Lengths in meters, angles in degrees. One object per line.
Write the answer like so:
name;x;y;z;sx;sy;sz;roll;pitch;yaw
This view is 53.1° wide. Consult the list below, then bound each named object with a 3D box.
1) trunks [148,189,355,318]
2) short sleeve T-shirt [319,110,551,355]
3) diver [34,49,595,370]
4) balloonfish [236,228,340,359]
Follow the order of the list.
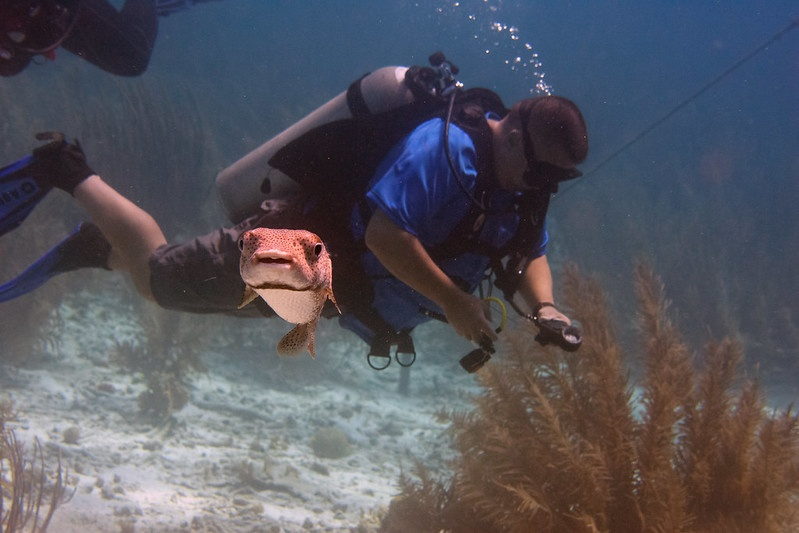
trunks;-1.697;-0.157;9.385;1.000;1.649;3.326;-7;19;-43
short sleeve T-shirt;0.407;-0.516;9.480;2.152;2.282;1.191;21;26;-40
diver;-0.805;-0.616;10.962;6.525;3.527;3.338;2;-4;10
balloonfish;-1.156;0.296;8.887;1.154;0.738;1.903;2;-32;5
